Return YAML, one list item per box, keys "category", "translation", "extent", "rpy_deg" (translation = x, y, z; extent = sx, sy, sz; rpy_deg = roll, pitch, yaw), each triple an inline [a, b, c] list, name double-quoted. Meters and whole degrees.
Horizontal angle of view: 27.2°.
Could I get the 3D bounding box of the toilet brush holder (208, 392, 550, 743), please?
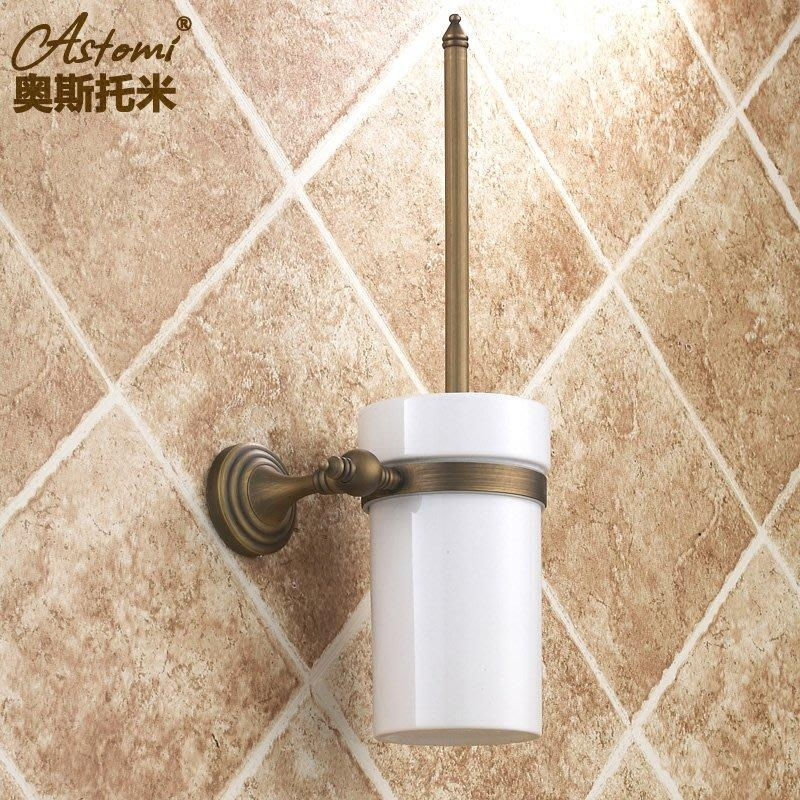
- category: "toilet brush holder"
  translation: [-0.002, 0.141, 1.089]
  extent: [0.205, 0.283, 0.126]
  rpy_deg: [-13, -17, 36]
